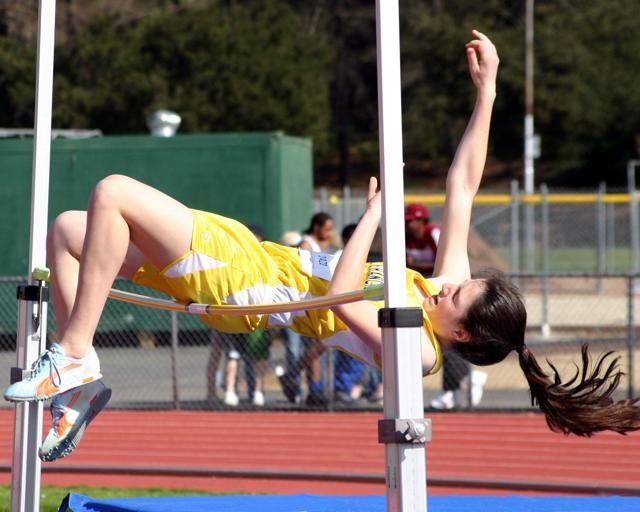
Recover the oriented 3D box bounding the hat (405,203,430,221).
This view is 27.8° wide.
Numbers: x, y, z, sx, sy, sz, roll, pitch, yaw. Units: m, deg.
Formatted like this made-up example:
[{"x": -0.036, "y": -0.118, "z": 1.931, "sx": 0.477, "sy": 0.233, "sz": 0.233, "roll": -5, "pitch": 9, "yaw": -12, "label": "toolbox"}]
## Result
[{"x": 1.071, "y": -0.496, "z": 14.077, "sx": 0.262, "sy": 0.129, "sz": 0.173, "roll": 0, "pitch": 9, "yaw": 7, "label": "hat"}]
